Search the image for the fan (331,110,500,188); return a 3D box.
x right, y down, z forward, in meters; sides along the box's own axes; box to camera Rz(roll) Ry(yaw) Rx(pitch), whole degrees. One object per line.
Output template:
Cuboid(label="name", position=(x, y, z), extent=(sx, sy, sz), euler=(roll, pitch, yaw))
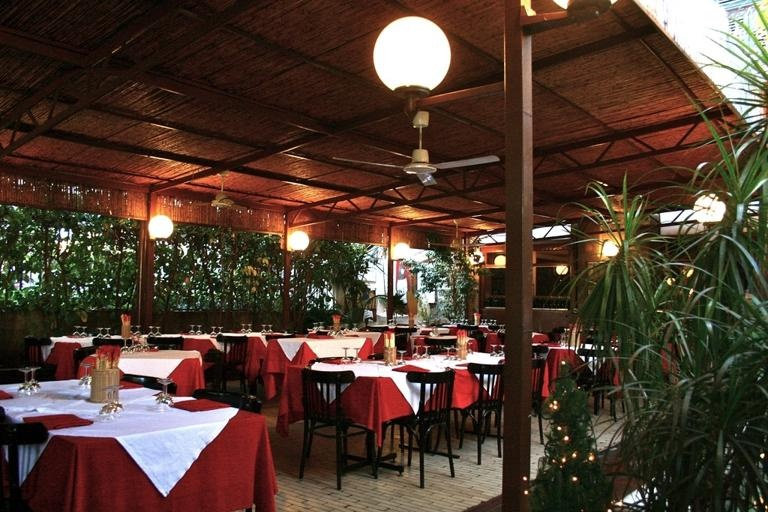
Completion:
Cuboid(label="fan", position=(0.433, -1.577, 7.876), extent=(1.236, 0.443, 1.111), euler=(-3, -9, 33))

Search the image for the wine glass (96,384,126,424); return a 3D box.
Cuboid(label="wine glass", position=(-1.672, 0.919, 3.333), extent=(0.169, 0.162, 0.171), euler=(-1, -4, 42))

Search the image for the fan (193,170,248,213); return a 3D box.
Cuboid(label="fan", position=(-2.763, -1.151, 9.232), extent=(0.550, 0.521, 0.510), euler=(-5, 15, -40))

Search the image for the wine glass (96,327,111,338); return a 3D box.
Cuboid(label="wine glass", position=(-4.500, 1.248, 8.759), extent=(0.177, 0.131, 0.377), euler=(10, -12, -36))

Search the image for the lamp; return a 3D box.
Cuboid(label="lamp", position=(0.154, -1.249, 3.625), extent=(0.493, 0.534, 0.488), euler=(-2, 2, 28))
